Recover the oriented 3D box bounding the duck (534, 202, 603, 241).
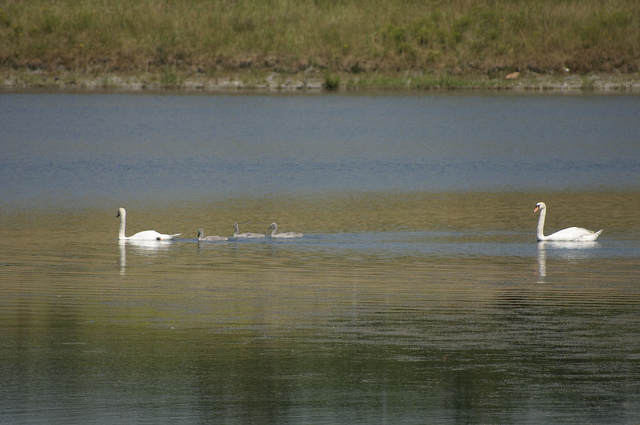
[{"bbox_3d":[9.863,0.580,58.520,3.054,1.565,1.048,1,5,36],"label":"duck"}]

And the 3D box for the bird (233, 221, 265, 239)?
[{"bbox_3d":[-2.886,0.827,59.111,1.535,0.717,0.470,0,-1,-4],"label":"bird"}]
